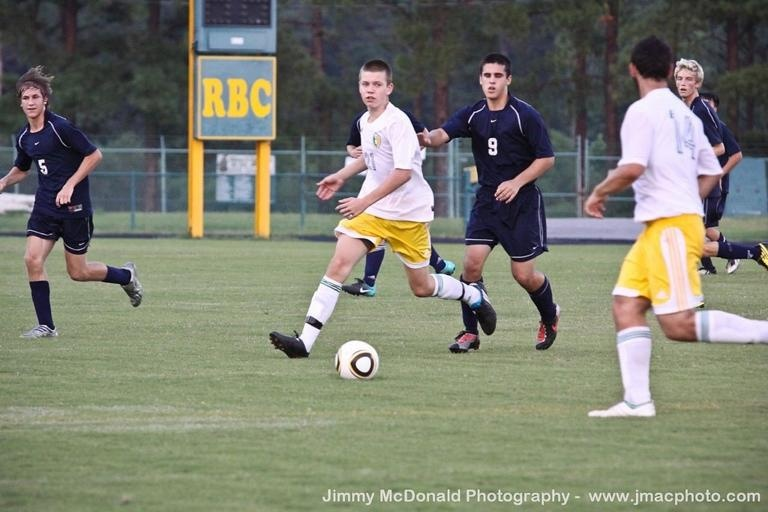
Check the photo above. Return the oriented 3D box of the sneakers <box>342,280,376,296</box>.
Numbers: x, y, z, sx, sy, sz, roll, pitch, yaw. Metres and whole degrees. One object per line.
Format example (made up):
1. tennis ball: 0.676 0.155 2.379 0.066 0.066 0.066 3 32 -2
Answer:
1. sneakers: -0.359 0.472 21.653 0.555 0.258 0.190 8 7 -13

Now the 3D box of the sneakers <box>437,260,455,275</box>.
1. sneakers: 0.946 0.163 21.295 0.356 0.121 0.149 -6 -10 -17

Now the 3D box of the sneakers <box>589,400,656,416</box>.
1. sneakers: 2.577 1.699 16.288 0.716 0.203 0.249 1 -7 2

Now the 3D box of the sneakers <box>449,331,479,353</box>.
1. sneakers: 0.992 1.065 18.452 0.483 0.221 0.167 -1 -7 -37

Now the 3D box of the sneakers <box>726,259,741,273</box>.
1. sneakers: 5.538 0.164 23.773 0.145 0.186 0.462 -12 10 29

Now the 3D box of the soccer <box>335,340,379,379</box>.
1. soccer: -0.280 1.187 17.352 0.472 0.428 0.446 -5 8 -15

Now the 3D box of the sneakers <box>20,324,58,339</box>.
1. sneakers: -4.325 0.942 18.754 0.421 0.173 0.175 4 3 -12

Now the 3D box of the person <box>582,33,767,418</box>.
1. person: 3.024 -0.332 16.370 1.654 4.119 0.766 -1 4 2
